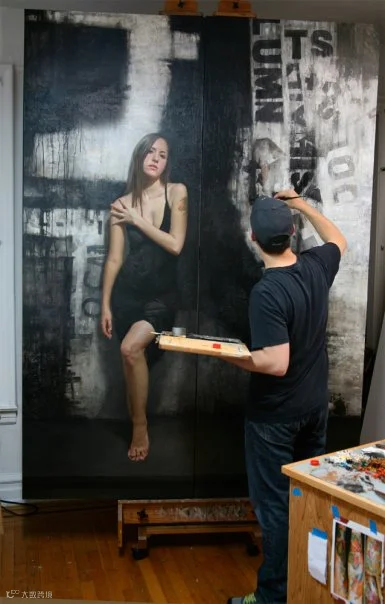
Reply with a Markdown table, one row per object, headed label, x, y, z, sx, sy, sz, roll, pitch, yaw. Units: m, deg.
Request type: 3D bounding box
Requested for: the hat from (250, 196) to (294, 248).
| label | x | y | z | sx | sy | sz | roll | pitch | yaw |
| --- | --- | --- | --- | --- | --- | --- | --- | --- | --- |
| hat | 0.301 | -0.310 | 2.247 | 0.131 | 0.200 | 0.114 | -2 | -29 | 3 |
